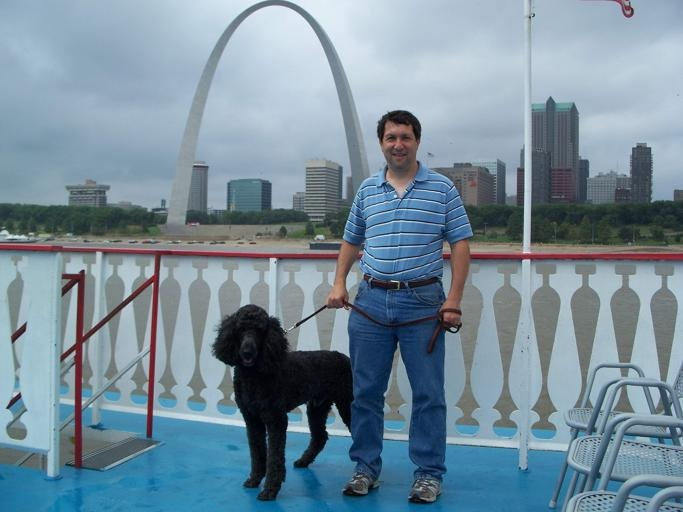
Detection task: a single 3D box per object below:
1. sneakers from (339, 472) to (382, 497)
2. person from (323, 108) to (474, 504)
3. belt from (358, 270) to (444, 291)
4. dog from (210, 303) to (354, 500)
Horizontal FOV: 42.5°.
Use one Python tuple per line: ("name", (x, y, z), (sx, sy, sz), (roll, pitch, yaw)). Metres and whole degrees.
("sneakers", (0.127, 1.551, 5.931), (0.106, 0.131, 0.274), (-7, -16, 31))
("person", (0.388, 0.316, 5.969), (0.950, 2.530, 0.834), (3, 14, 11))
("belt", (0.406, 0.180, 5.926), (0.516, 0.097, 0.125), (3, 15, 8))
("dog", (-0.379, 0.944, 6.053), (0.897, 1.268, 0.514), (-10, 17, -35))
